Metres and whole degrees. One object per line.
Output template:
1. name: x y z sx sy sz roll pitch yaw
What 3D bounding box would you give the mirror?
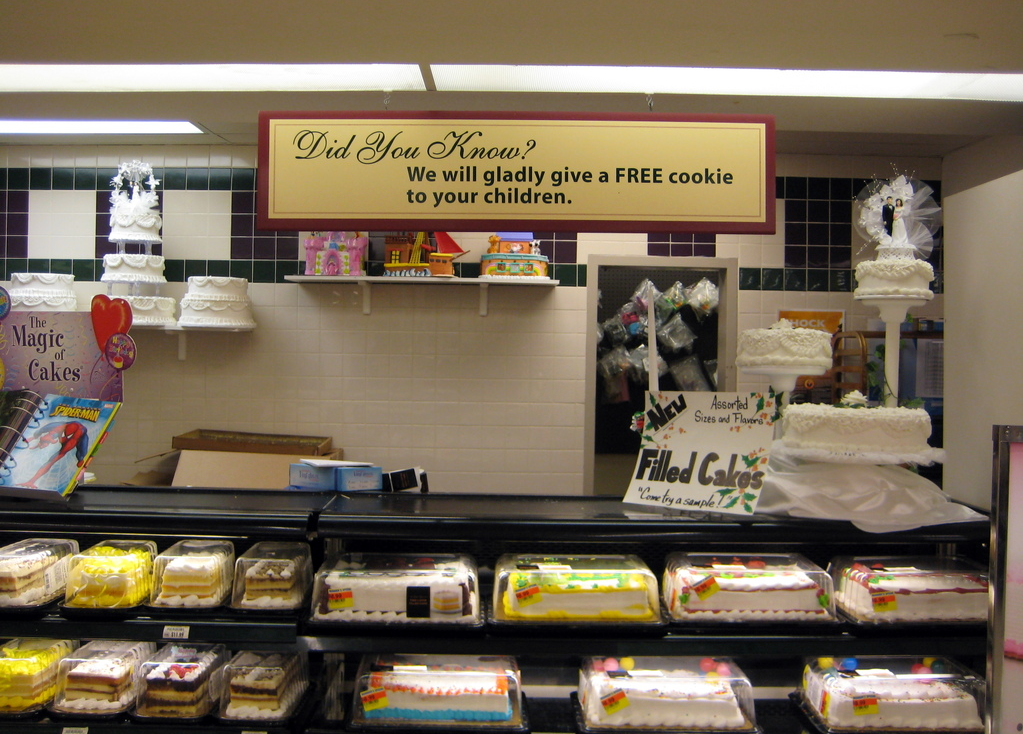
1. mirror: 1.025 0.060 6.330 1.072 1.690 0.681 0 10 -1

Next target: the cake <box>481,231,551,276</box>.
1. cake: 0.022 -0.714 5.907 0.328 0.220 0.323 0 3 6

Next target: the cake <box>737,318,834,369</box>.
1. cake: 1.171 -0.058 3.776 0.394 0.188 0.389 9 -11 -16

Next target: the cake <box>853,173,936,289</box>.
1. cake: 1.697 -0.599 3.955 0.335 0.480 0.501 5 11 25

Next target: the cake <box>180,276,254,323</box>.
1. cake: -1.914 -0.438 5.926 0.492 0.278 0.464 5 6 18

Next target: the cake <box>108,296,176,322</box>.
1. cake: -2.302 -0.364 5.787 0.255 0.172 0.222 -5 11 -28

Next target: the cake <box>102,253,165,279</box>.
1. cake: -2.406 -0.628 5.758 0.235 0.087 0.230 1 3 0

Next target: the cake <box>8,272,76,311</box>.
1. cake: -2.931 -0.470 5.631 0.383 0.226 0.375 0 1 -22

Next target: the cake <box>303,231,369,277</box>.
1. cake: -1.149 -0.733 5.828 0.558 0.280 0.367 2 15 0

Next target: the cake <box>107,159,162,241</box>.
1. cake: -2.446 -1.064 5.896 0.363 0.493 0.344 1 3 -14

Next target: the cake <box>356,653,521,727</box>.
1. cake: -0.285 1.247 3.535 0.431 0.123 0.296 2 -2 3
